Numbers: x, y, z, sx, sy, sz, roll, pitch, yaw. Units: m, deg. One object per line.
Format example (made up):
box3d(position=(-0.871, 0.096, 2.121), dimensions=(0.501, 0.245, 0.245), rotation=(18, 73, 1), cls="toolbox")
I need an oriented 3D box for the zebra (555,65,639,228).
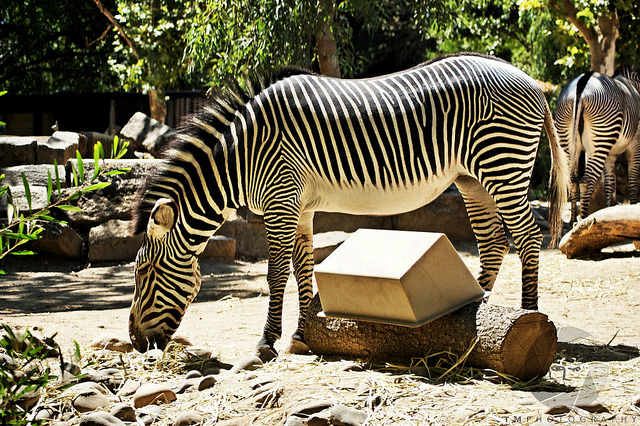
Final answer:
box3d(position=(4.909, -1.345, 17.275), dimensions=(1.786, 2.862, 1.230), rotation=(-1, -11, -44), cls="zebra")
